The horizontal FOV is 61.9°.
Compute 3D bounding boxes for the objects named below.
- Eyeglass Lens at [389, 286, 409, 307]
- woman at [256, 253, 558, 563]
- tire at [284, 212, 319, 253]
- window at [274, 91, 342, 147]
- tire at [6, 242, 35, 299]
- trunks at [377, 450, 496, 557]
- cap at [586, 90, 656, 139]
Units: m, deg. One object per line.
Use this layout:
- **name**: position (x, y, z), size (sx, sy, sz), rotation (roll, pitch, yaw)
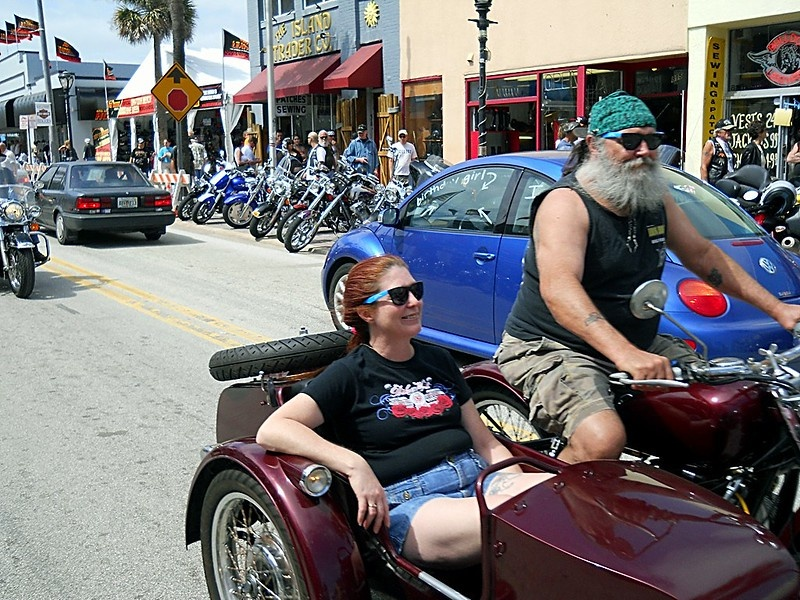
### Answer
- **Eyeglass Lens**: position (-0.001, -0.019, 2.755), size (0.064, 0.032, 0.082), rotation (-10, 12, -36)
- **woman**: position (0.005, 0.443, 2.820), size (1.457, 1.014, 0.775), rotation (1, 4, 44)
- **tire**: position (-1.992, -1.368, 13.388), size (0.223, 0.757, 0.752), rotation (37, 0, 11)
- **window**: position (-3.484, -6.934, 26.676), size (1.529, 2.619, 2.819), rotation (4, 17, 13)
- **tire**: position (-5.451, -0.464, 9.605), size (0.252, 0.727, 0.650), rotation (-2, 16, -33)
- **trunks**: position (0.142, 0.762, 2.591), size (0.334, 0.130, 0.330), rotation (-13, 5, -34)
- **cap**: position (0.941, -0.809, 2.902), size (0.225, 0.161, 0.229), rotation (8, 29, 35)
